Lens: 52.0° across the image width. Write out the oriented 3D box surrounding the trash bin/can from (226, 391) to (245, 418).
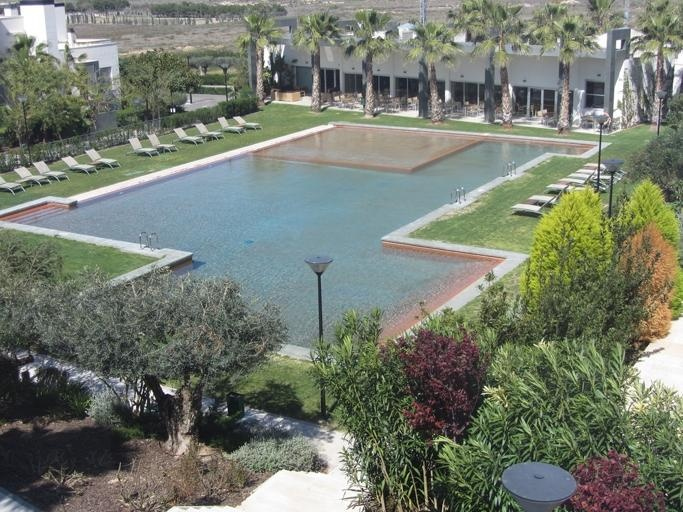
[{"bbox_3d":[-2.264,3.214,14.932,0.354,0.482,0.374,-5,12,-13],"label":"trash bin/can"}]
